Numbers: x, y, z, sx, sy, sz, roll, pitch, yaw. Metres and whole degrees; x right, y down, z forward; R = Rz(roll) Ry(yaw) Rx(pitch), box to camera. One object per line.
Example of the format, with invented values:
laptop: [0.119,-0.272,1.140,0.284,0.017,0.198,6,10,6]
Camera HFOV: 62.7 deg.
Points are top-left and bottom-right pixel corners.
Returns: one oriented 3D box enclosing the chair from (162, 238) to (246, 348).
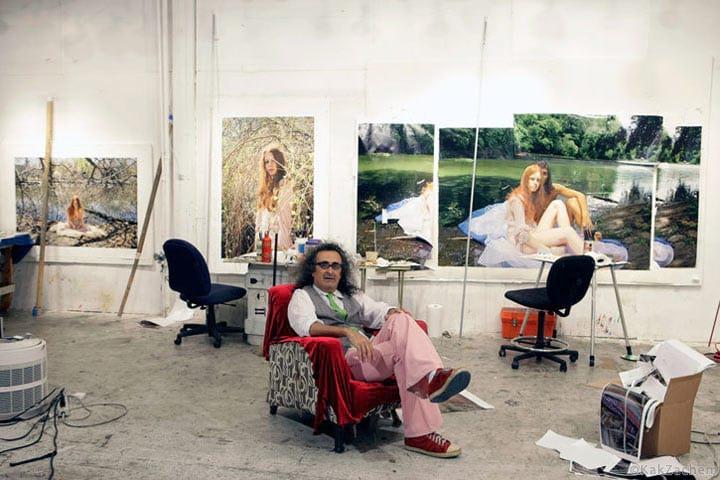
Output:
chair: [-1.986,0.648,7.756,0.981,1.336,0.842,-2,4,-41]

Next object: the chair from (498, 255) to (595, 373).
chair: [2.128,0.824,7.122,0.884,1.255,0.768,-12,-34,21]

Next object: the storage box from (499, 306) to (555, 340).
storage box: [2.223,1.144,8.088,0.699,0.342,0.517,1,-5,6]

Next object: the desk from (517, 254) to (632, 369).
desk: [2.866,0.776,7.785,1.274,1.422,1.517,1,-2,-19]

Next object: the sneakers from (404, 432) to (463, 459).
sneakers: [0.668,1.789,5.327,0.515,0.220,0.193,0,7,15]

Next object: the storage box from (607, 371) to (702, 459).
storage box: [2.649,1.520,5.402,0.829,0.786,0.721,-2,2,-37]

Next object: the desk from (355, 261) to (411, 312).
desk: [0.283,0.565,8.152,0.620,0.597,0.632,14,14,4]

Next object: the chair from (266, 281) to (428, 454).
chair: [-0.258,1.140,5.787,1.330,1.215,1.288,4,0,37]

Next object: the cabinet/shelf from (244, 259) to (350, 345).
cabinet/shelf: [-1.107,0.911,8.010,1.017,1.060,1.039,13,-7,-24]
